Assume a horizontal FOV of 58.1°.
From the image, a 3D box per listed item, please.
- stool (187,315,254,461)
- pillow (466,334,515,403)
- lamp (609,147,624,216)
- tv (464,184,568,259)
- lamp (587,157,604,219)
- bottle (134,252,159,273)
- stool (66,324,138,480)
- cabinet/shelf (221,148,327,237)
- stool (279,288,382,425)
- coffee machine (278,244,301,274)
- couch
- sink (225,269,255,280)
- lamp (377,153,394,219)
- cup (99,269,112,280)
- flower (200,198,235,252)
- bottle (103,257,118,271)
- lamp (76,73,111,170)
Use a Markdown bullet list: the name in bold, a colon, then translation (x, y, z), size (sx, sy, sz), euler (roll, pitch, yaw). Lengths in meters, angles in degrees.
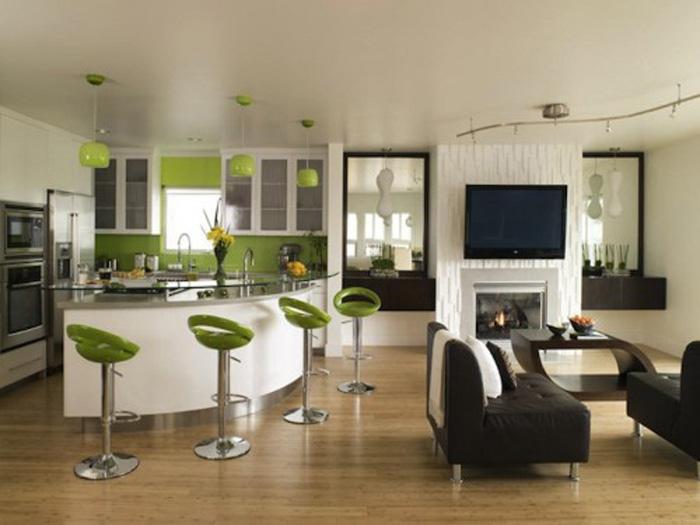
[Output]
- **stool**: translation (-1.169, 1.065, 5.725), size (0.547, 1.267, 0.670), euler (-1, 4, -14)
- **pillow**: translation (1.280, 0.916, 5.534), size (0.153, 0.534, 0.528), euler (-20, 28, 19)
- **lamp**: translation (3.730, -1.103, 8.796), size (0.177, 0.928, 0.738), euler (2, 5, 23)
- **tv**: translation (2.274, -0.586, 8.528), size (1.008, 0.727, 0.079), euler (0, 5, 1)
- **lamp**: translation (3.449, -1.054, 8.837), size (0.236, 0.922, 0.574), euler (2, 5, 22)
- **bottle**: translation (-2.902, 0.003, 8.972), size (0.276, 0.263, 0.158), euler (1, 4, 1)
- **stool**: translation (-2.110, 1.140, 5.382), size (0.497, 1.276, 0.580), euler (-3, 5, -39)
- **cabinet/shelf**: translation (-1.050, -1.033, 8.828), size (1.352, 1.103, 0.449), euler (0, 1, -1)
- **stool**: translation (-0.251, 1.076, 7.151), size (0.481, 1.027, 1.313), euler (1, 0, 31)
- **coffee machine**: translation (-0.870, -0.087, 9.146), size (0.330, 0.371, 0.411), euler (0, 4, -6)
- **couch**: translation (1.448, 1.195, 6.017), size (1.242, 1.089, 1.833), euler (0, 1, 5)
- **sink**: translation (-1.424, 0.153, 7.986), size (0.344, 0.079, 0.315), euler (1, 6, -5)
- **lamp**: translation (0.508, -0.942, 8.888), size (0.245, 0.810, 0.608), euler (0, 4, 4)
- **cup**: translation (-2.375, 0.118, 6.077), size (0.104, 0.116, 0.105), euler (0, -4, 0)
- **flower**: translation (-1.423, -0.291, 6.740), size (0.254, 0.419, 0.295), euler (5, 15, 40)
- **bottle**: translation (-3.352, 0.023, 8.797), size (0.182, 0.234, 0.246), euler (0, -2, 3)
- **lamp**: translation (-2.541, -1.415, 6.296), size (0.408, 0.869, 0.397), euler (-4, 16, -42)
